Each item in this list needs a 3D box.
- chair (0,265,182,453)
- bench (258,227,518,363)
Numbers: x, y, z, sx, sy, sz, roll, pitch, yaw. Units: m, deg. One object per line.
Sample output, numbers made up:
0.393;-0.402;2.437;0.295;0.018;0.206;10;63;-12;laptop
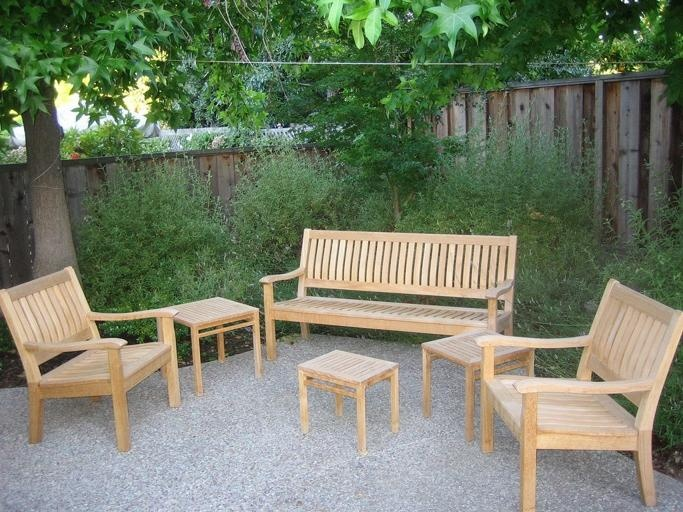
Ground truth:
-1.848;0.640;4.748;1.419;1.621;1.209;2;10;13;chair
0.418;0.393;5.310;2.287;1.174;0.767;1;10;31;bench
